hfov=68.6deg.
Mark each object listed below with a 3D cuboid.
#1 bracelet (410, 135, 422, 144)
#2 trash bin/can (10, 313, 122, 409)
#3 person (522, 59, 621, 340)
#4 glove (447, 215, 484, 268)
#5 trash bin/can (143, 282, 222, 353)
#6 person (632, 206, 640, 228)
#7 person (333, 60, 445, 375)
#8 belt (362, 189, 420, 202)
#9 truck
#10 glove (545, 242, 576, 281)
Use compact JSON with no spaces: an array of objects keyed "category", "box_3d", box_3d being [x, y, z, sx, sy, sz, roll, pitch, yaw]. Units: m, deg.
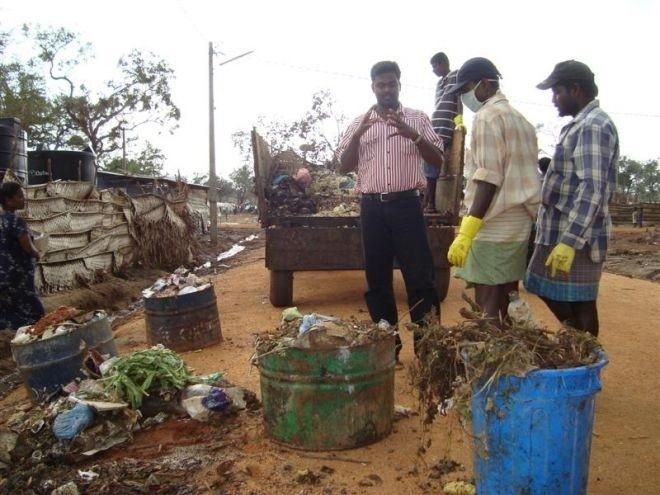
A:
[{"category":"bracelet","box_3d":[0.764,-0.971,4.327,0.080,0.082,0.036,4,-30,-38]},{"category":"trash bin/can","box_3d":[-2.668,1.035,4.963,0.871,0.677,0.904,-8,6,1]},{"category":"person","box_3d":[1.856,-0.369,3.605,0.595,2.071,0.777,0,11,2]},{"category":"glove","box_3d":[0.982,-0.053,3.567,0.266,0.389,0.119,1,6,-22]},{"category":"trash bin/can","box_3d":[-1.732,0.796,5.691,0.759,0.579,0.790,-3,-5,-4]},{"category":"person","box_3d":[16.180,-1.594,25.518,0.342,0.940,0.962,5,12,29]},{"category":"person","box_3d":[0.560,-0.487,4.583,0.916,2.491,0.667,0,11,6]},{"category":"belt","box_3d":[0.571,-0.500,4.597,0.544,0.112,0.220,0,10,3]},{"category":"truck","box_3d":[0.189,-0.359,8.410,2.546,2.249,3.432,0,-1,-1]},{"category":"glove","box_3d":[1.695,0.098,3.560,0.181,0.289,0.271,5,12,27]}]
